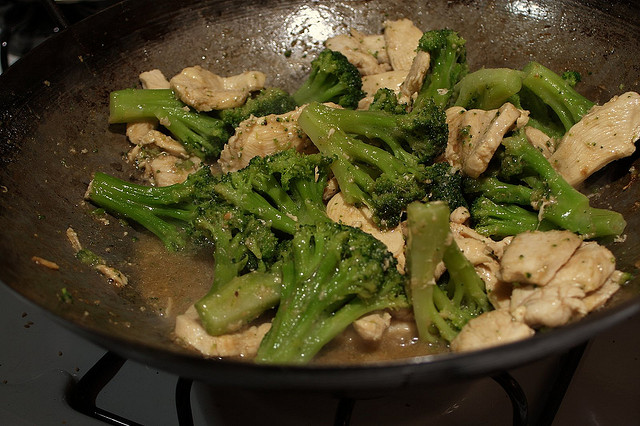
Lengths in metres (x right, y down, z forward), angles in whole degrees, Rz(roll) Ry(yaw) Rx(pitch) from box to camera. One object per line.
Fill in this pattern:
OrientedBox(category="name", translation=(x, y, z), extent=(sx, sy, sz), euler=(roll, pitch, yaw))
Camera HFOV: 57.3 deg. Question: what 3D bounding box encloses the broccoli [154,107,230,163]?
OrientedBox(category="broccoli", translation=(-0.828, -0.538, 3.905), extent=(0.445, 0.165, 0.304), euler=(35, 93, 2))
